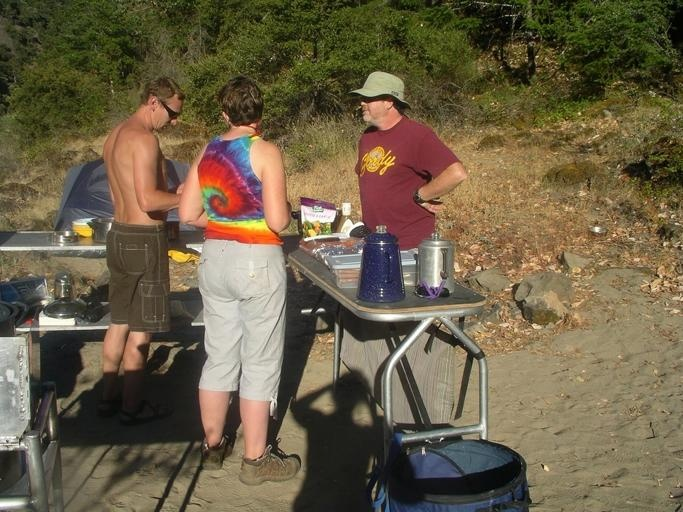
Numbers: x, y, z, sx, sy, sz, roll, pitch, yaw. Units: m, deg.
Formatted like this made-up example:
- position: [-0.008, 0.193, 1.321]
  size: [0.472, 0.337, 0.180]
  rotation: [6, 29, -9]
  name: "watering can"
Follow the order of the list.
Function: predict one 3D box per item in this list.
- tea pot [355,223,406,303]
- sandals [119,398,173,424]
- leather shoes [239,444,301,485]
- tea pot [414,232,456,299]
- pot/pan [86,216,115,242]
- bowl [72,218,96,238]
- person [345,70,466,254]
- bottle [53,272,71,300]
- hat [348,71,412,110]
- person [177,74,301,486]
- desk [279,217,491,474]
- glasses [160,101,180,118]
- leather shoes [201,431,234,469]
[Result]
- position: [0.289, 0.088, 5.248]
  size: [0.301, 0.492, 0.122]
  rotation: [-1, 4, -4]
  name: "tea pot"
- position: [-1.699, 1.361, 6.409]
  size: [0.452, 0.194, 0.163]
  rotation: [-2, 6, -28]
  name: "sandals"
- position: [-0.548, 1.632, 5.809]
  size: [0.520, 0.251, 0.232]
  rotation: [-6, 10, -44]
  name: "leather shoes"
- position: [0.683, 0.051, 5.313]
  size: [0.270, 0.474, 0.236]
  rotation: [-2, 7, -14]
  name: "tea pot"
- position: [-2.314, -0.266, 7.156]
  size: [0.350, 0.247, 0.303]
  rotation: [0, 3, 6]
  name: "pot/pan"
- position: [-2.654, -0.273, 7.569]
  size: [0.225, 0.162, 0.226]
  rotation: [0, 0, 0]
  name: "bowl"
- position: [0.505, -0.755, 6.060]
  size: [0.635, 1.909, 0.621]
  rotation: [-1, 4, -30]
  name: "person"
- position: [-2.627, 0.283, 6.934]
  size: [0.167, 0.227, 0.322]
  rotation: [-2, 4, -21]
  name: "bottle"
- position: [0.351, -1.381, 6.122]
  size: [0.418, 0.195, 0.296]
  rotation: [5, 7, -10]
  name: "hat"
- position: [-0.771, 0.094, 5.851]
  size: [0.973, 2.825, 1.067]
  rotation: [0, 3, -10]
  name: "person"
- position: [0.219, 0.906, 6.301]
  size: [1.016, 1.183, 2.389]
  rotation: [-1, 3, -22]
  name: "desk"
- position: [-1.457, -1.231, 6.197]
  size: [0.039, 0.130, 0.130]
  rotation: [-45, -10, 5]
  name: "glasses"
- position: [-1.006, 1.556, 5.894]
  size: [0.142, 0.136, 0.311]
  rotation: [1, 18, 2]
  name: "leather shoes"
